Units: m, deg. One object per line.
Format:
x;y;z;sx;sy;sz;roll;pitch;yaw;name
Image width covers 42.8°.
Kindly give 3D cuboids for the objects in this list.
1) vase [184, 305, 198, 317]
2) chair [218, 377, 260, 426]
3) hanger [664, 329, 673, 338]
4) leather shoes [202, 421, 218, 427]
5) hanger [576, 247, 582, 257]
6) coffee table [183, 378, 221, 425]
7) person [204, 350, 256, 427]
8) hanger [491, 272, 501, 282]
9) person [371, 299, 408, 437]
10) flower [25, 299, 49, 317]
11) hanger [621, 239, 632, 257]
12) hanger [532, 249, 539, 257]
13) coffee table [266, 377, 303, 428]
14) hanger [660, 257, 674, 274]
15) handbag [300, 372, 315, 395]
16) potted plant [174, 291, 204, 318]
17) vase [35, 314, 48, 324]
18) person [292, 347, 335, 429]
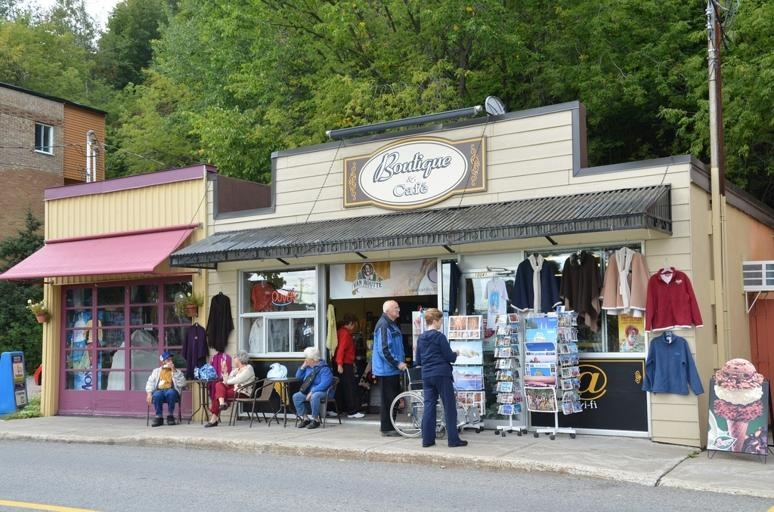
-5.708;1.569;28.782;0.367;0.287;0.366;3;-3;-23;vase
-4.225;3.829;27.929;1.604;1.494;0.775;3;-2;-2;chair
6.930;1.889;24.082;0.136;0.184;0.071;1;-14;17;hanger
-4.858;4.615;27.166;0.373;0.157;0.298;0;-8;-9;leather shoes
4.914;-0.112;24.997;0.143;0.260;0.188;1;-7;16;hanger
-5.481;4.224;28.559;1.210;1.400;1.231;-2;-14;9;coffee table
-4.331;3.580;27.353;0.894;2.482;1.008;-3;-7;29;person
2.864;0.544;25.832;0.208;0.198;0.050;-5;-19;35;hanger
0.081;2.861;25.331;0.865;3.445;0.678;-1;-8;-4;person
-12.358;1.810;34.611;0.937;0.672;0.777;-6;-11;39;flower
6.030;-0.220;24.600;0.348;0.633;0.081;-16;-54;33;hanger
3.858;-0.085;25.404;0.186;0.163;0.027;-5;-25;23;hanger
-2.809;4.063;27.978;1.112;1.320;1.118;0;0;-40;coffee table
6.964;0.224;24.321;0.401;0.460;0.022;0;-6;35;hanger
-2.115;3.387;26.424;0.157;0.576;0.314;36;-19;-25;handbag
-5.833;1.411;28.930;0.779;0.777;0.793;1;-5;-19;potted plant
-10.790;1.938;30.765;0.326;0.229;0.323;3;-5;-34;vase
-1.993;3.540;26.648;1.146;2.061;1.037;2;-4;-32;person
